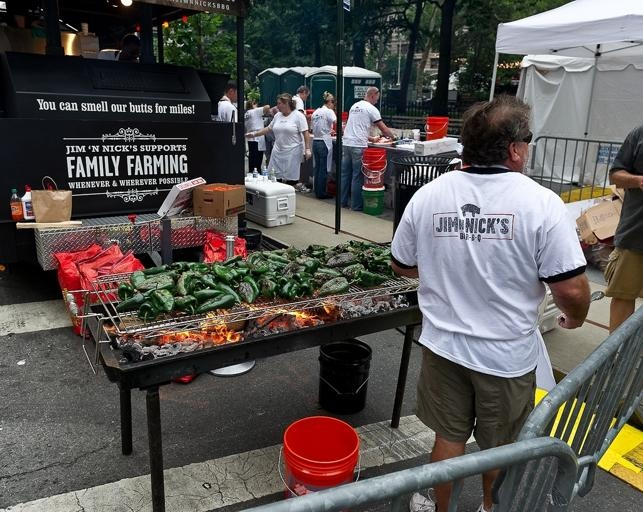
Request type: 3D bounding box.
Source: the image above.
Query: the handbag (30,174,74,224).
[{"bbox_3d":[-3.027,-0.561,5.457,0.398,0.357,0.136,-11,22,-27],"label":"handbag"}]

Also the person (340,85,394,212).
[{"bbox_3d":[0.958,-2.287,10.488,1.085,2.617,0.966,-8,16,-32],"label":"person"}]

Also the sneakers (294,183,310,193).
[{"bbox_3d":[-0.497,-1.736,12.387,0.436,0.200,0.180,10,18,26],"label":"sneakers"}]

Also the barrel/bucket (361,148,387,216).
[{"bbox_3d":[1.041,-1.534,9.990,0.563,1.359,0.550,7,18,-2],"label":"barrel/bucket"}]
